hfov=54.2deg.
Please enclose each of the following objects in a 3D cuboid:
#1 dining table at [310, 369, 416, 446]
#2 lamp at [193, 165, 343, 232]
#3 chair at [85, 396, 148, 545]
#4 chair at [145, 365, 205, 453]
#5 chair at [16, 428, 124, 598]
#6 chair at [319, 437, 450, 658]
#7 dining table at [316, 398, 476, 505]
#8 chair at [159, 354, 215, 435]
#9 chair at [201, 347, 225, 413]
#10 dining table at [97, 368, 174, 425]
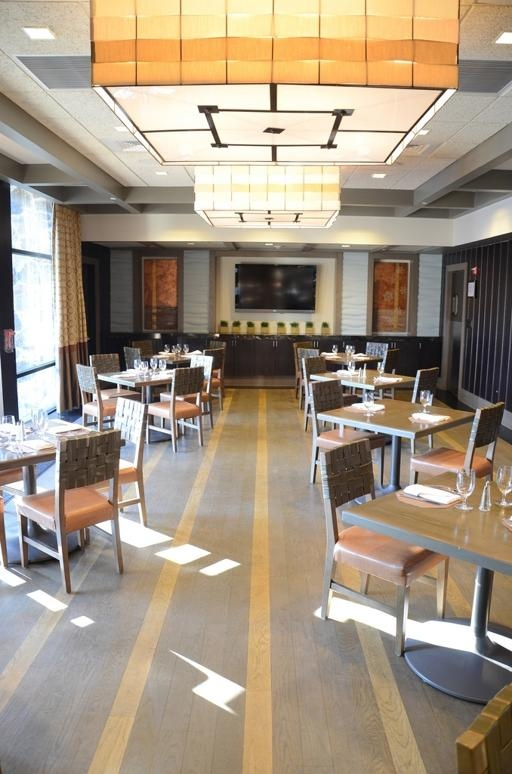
[{"bbox_3d":[1.343,0.153,6.051,0.846,0.868,0.848,-6,9,-34],"label":"dining table"},{"bbox_3d":[0.084,-2.020,5.381,1.542,0.448,1.423,-1,5,-18],"label":"lamp"},{"bbox_3d":[-1.094,0.571,3.626,0.522,0.908,0.515,-4,10,-32],"label":"chair"},{"bbox_3d":[-0.977,0.202,6.008,0.579,0.997,0.651,-3,11,-32],"label":"chair"},{"bbox_3d":[-1.066,0.673,2.943,0.545,0.885,0.462,5,7,42],"label":"chair"},{"bbox_3d":[0.635,0.735,2.414,0.458,0.866,0.542,-7,7,-35],"label":"chair"},{"bbox_3d":[1.151,0.574,4.051,1.011,0.653,1.053,1,7,28],"label":"dining table"},{"bbox_3d":[-0.896,0.223,6.752,0.571,0.908,0.614,-16,18,-17],"label":"chair"},{"bbox_3d":[-0.804,-0.137,8.035,0.508,0.932,0.481,4,12,27],"label":"chair"},{"bbox_3d":[-1.397,-0.068,6.291,0.727,0.753,0.736,11,18,36],"label":"dining table"}]
